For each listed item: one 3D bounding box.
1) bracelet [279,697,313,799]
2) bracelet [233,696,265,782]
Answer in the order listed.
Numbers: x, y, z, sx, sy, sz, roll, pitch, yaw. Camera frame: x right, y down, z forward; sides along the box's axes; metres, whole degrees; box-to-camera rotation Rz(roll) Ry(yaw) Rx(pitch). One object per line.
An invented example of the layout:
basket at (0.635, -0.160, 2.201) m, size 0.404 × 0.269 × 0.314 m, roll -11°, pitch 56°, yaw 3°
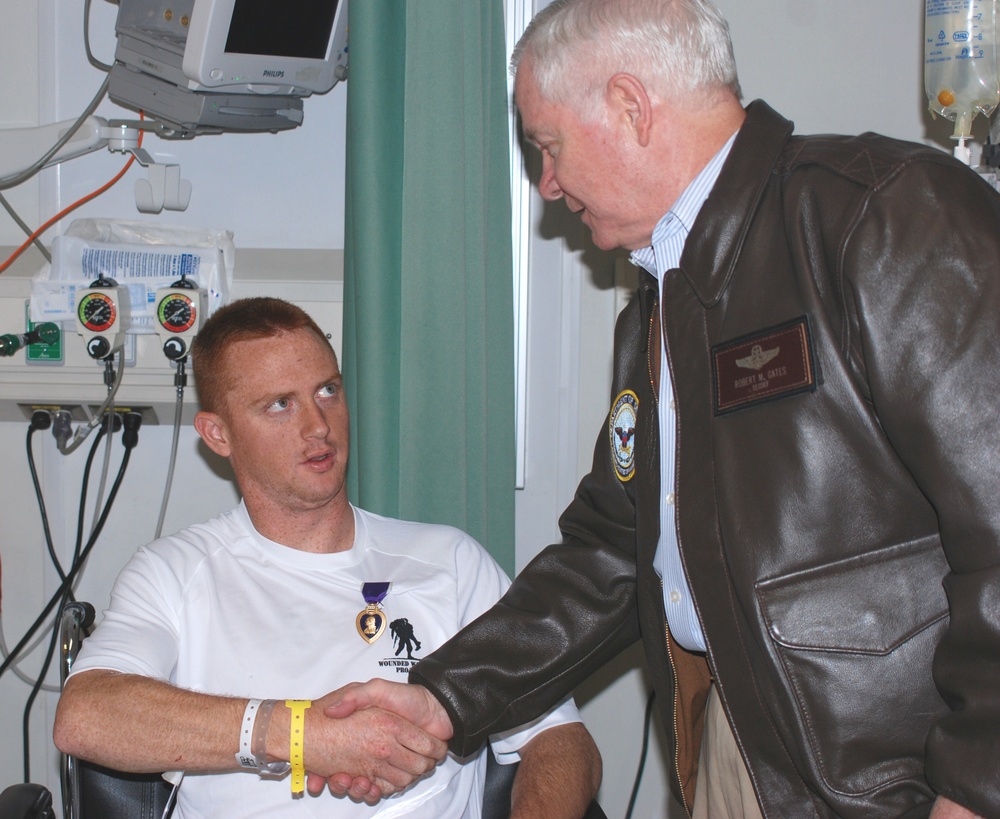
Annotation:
bracelet at (-0.352, 0.577, 1.913) m, size 0.073 × 0.158 × 0.147 m, roll 2°, pitch -18°, yaw -3°
bracelet at (-0.432, 0.557, 1.889) m, size 0.049 × 0.098 × 0.089 m, roll 8°, pitch 17°, yaw 6°
